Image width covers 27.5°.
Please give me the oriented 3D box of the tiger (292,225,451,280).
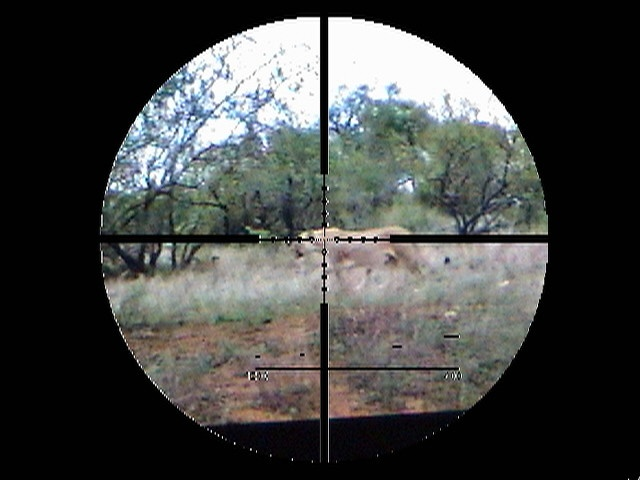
[{"bbox_3d":[0.683,0.134,18.653,2.066,0.692,0.366,0,7,7],"label":"tiger"}]
